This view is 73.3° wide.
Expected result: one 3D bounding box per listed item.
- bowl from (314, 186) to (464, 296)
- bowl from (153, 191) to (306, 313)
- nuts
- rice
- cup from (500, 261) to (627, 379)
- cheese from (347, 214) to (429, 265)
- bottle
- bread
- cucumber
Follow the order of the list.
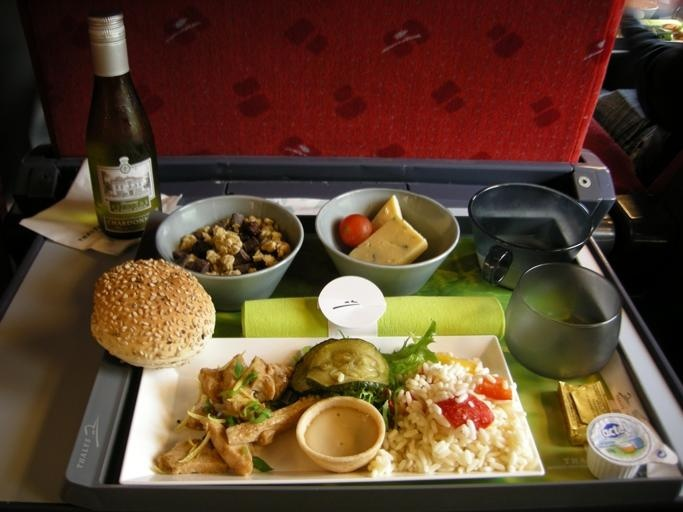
[{"bbox_3d":[0.092,-0.073,1.046,0.334,0.242,0.275,-7,23,-3],"label":"bowl"},{"bbox_3d":[-0.260,-0.056,1.011,0.331,0.243,0.231,-17,29,-28],"label":"bowl"},{"bbox_3d":[-0.221,-0.018,0.970,0.157,0.066,0.165,10,27,22],"label":"nuts"},{"bbox_3d":[0.179,0.264,0.791,0.229,0.145,0.185,-3,19,-13],"label":"rice"},{"bbox_3d":[0.402,0.107,0.920,0.222,0.212,0.264,3,19,27],"label":"cup"},{"bbox_3d":[0.106,-0.023,0.977,0.147,0.036,0.102,-45,58,-6],"label":"cheese"},{"bbox_3d":[-0.465,-0.252,1.012,0.134,0.515,0.147,25,36,37],"label":"bottle"},{"bbox_3d":[-0.327,0.123,0.811,0.189,0.064,0.179,27,50,-4],"label":"bread"},{"bbox_3d":[-0.004,0.180,0.775,0.121,0.032,0.102,-3,59,-3],"label":"cucumber"}]
